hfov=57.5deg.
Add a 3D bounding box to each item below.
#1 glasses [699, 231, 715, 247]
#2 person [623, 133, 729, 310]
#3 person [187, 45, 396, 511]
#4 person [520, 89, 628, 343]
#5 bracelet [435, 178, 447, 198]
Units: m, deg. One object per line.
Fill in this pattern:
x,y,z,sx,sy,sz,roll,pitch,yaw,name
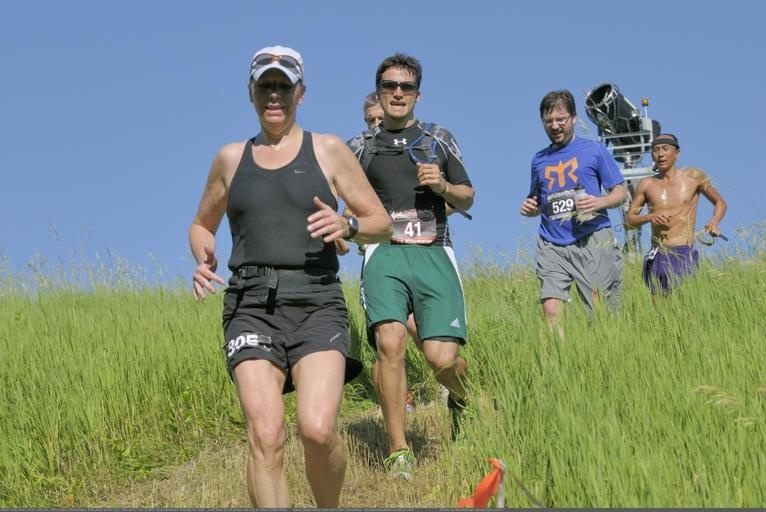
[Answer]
2.684,-0.163,5.783,0.134,0.038,0.112,31,41,6,glasses
3.298,-0.569,7.932,1.020,1.697,1.808,0,6,26,person
-0.577,0.126,4.355,1.239,2.908,0.908,-2,4,1,person
1.851,-0.542,6.766,0.966,2.174,0.738,-2,4,13,person
0.474,-0.557,5.665,0.087,0.143,0.125,-5,13,1,bracelet
